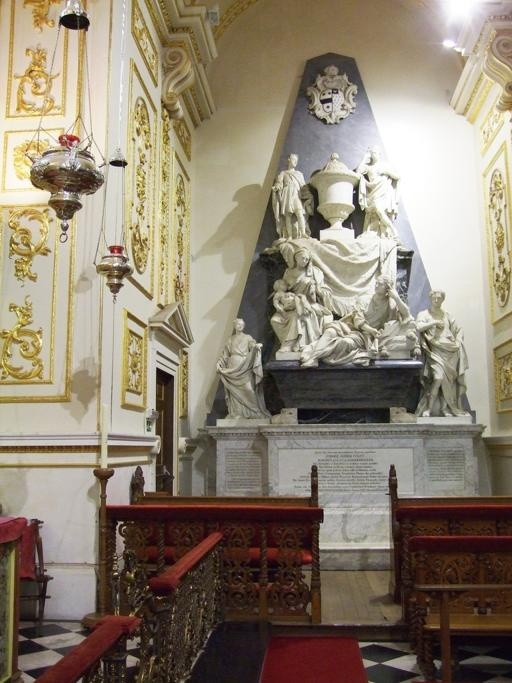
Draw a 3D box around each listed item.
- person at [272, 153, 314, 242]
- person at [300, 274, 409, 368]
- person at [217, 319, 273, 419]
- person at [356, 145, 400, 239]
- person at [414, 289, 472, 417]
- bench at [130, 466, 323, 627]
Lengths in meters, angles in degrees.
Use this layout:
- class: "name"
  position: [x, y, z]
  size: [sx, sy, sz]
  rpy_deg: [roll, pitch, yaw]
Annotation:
- class: "person"
  position: [0.564, -2.157, 10.192]
  size: [0.635, 1.420, 0.455]
  rpy_deg: [2, -9, -9]
- class: "person"
  position: [1.294, -0.287, 9.080]
  size: [1.564, 1.015, 1.013]
  rpy_deg: [-1, 27, -3]
- class: "person"
  position: [-0.158, 0.374, 9.217]
  size: [0.713, 1.382, 0.415]
  rpy_deg: [1, -9, -1]
- class: "person"
  position: [1.797, -2.165, 10.075]
  size: [0.602, 1.502, 0.360]
  rpy_deg: [-1, -9, 10]
- class: "person"
  position: [2.447, 0.157, 9.043]
  size: [0.647, 1.676, 0.440]
  rpy_deg: [-1, -9, 11]
- class: "bench"
  position: [-0.206, 1.511, 4.811]
  size: [1.406, 0.765, 1.009]
  rpy_deg: [-1, -8, 11]
